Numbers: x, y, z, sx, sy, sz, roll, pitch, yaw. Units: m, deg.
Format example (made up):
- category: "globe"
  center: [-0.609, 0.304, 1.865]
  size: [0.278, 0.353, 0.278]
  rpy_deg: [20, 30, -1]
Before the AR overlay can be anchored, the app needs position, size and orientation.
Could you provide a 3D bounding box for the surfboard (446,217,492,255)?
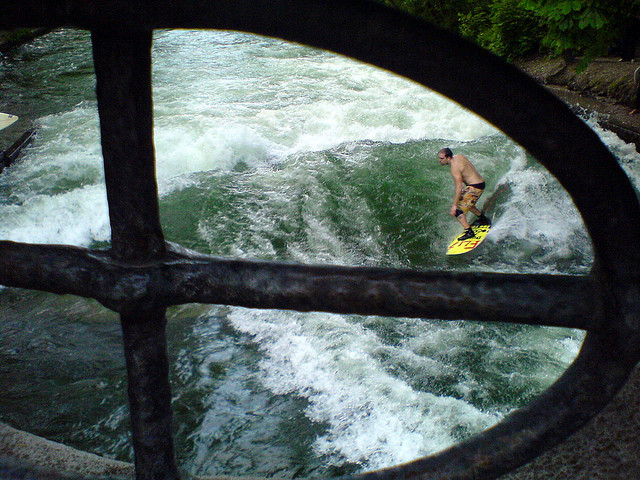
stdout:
- category: "surfboard"
  center: [2.235, -0.018, 8.199]
  size: [0.309, 0.154, 1.129]
  rpy_deg: [19, 37, 32]
